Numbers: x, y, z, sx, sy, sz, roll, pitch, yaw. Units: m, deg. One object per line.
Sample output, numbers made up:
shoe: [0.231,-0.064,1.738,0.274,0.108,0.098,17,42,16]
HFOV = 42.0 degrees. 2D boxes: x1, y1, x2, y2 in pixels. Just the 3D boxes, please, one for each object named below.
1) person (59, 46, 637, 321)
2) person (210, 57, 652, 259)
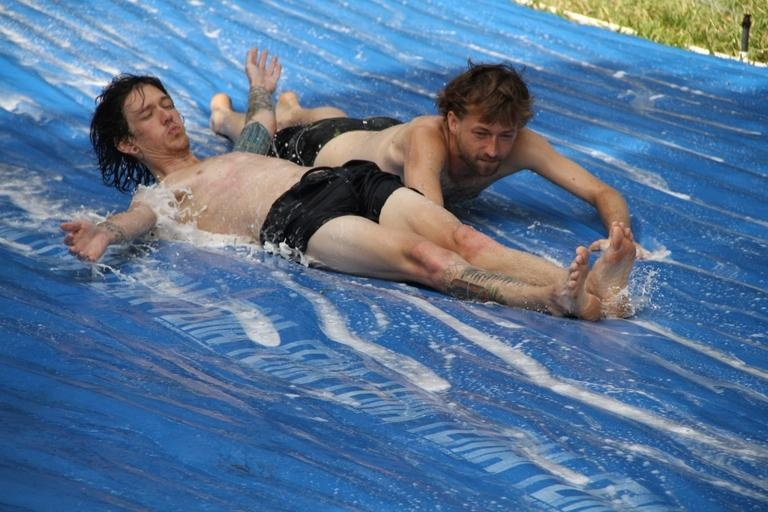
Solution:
person: [-0.272,-0.230,4.443,1.779,0.368,1.544,17,31,31]
person: [0.129,-0.496,5.151,0.949,0.805,2.613,-24,18,-37]
